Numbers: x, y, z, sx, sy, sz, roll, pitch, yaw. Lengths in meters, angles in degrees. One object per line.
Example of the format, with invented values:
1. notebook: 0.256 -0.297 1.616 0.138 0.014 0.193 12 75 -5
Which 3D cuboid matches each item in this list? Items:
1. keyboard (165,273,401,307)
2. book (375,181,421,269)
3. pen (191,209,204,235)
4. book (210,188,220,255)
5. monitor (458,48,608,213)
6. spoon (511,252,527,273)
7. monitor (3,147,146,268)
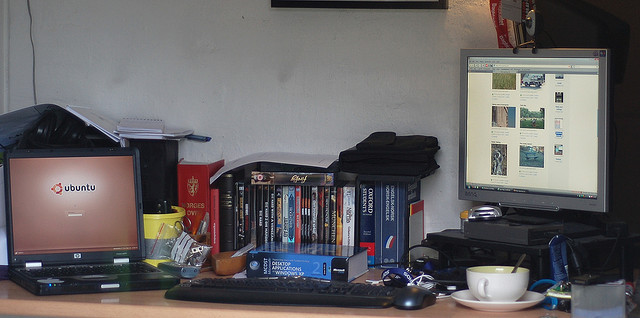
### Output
1. keyboard: -0.182 0.642 2.789 1.120 0.108 0.186 0 -1 4
2. book: 0.410 0.363 3.129 0.320 0.471 0.528 1 1 17
3. pen: -0.685 0.348 3.241 0.038 0.167 0.032 12 -14 24
4. book: -0.594 0.345 3.219 0.053 0.361 0.020 0 -1 -16
5. monitor: 1.133 -0.161 2.959 1.037 0.890 0.139 1 -1 16
6. spoon: 0.978 0.510 2.815 0.016 0.103 0.017 34 -11 6
7. monitor: -1.279 0.254 3.249 0.965 0.632 0.619 0 -3 -9
